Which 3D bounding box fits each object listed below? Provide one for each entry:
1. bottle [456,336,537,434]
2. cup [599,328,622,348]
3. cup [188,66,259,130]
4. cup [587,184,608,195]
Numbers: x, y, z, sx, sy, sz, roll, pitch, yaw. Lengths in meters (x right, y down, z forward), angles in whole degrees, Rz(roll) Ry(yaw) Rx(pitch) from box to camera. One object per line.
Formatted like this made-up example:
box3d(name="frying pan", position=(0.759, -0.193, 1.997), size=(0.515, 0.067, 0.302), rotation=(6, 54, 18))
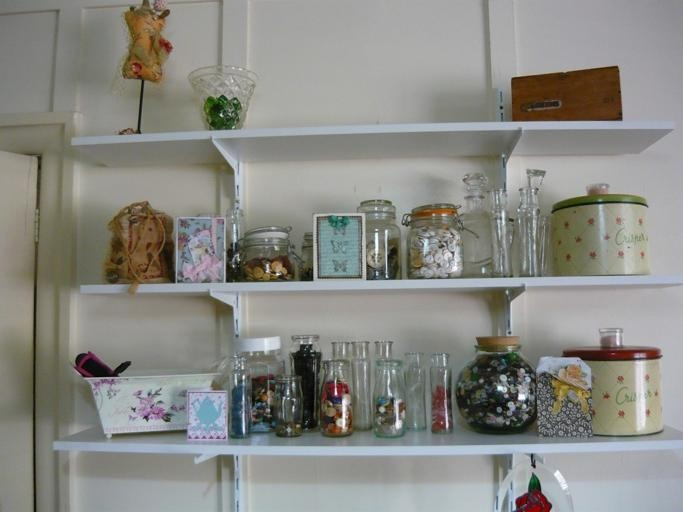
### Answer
box3d(name="bottle", position=(0.545, 0.429, 2.513), size=(0.284, 0.320, 0.307), rotation=(0, -5, 14))
box3d(name="cup", position=(0.935, 0.274, 2.480), size=(0.129, 0.062, 0.066), rotation=(1, -4, -38))
box3d(name="cup", position=(-0.434, -0.555, 2.678), size=(0.266, 0.230, 0.286), rotation=(1, 4, 0))
box3d(name="cup", position=(0.879, -0.221, 2.468), size=(0.046, 0.035, 0.048), rotation=(1, -6, 0))
